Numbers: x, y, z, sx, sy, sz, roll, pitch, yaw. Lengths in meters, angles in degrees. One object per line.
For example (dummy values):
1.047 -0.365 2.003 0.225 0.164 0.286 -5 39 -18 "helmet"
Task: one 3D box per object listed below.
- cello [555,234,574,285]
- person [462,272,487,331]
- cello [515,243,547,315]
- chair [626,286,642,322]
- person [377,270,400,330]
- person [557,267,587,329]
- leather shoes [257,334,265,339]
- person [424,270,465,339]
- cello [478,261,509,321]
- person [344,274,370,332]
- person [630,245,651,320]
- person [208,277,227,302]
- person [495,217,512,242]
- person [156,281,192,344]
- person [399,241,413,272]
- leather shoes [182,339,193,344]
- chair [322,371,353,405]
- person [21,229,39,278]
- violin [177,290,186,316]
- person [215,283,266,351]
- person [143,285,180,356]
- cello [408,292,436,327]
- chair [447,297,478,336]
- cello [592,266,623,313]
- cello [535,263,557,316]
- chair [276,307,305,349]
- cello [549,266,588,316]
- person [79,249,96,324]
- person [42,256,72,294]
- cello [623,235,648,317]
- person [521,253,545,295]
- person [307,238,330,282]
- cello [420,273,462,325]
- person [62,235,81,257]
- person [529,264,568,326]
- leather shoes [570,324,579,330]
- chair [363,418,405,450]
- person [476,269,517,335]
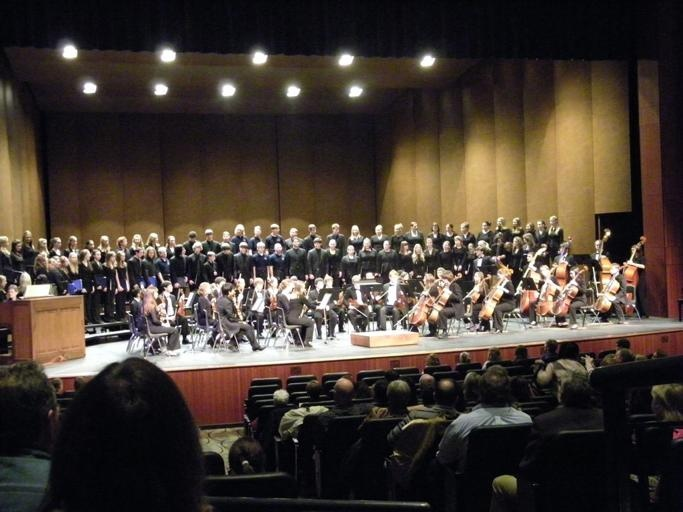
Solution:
4.132 0.092 12.708 0.216 0.986 0.410 5 -39 18 "cello"
2.433 0.831 12.388 0.325 1.103 0.534 5 19 7 "person"
3.522 0.453 12.642 0.375 1.372 0.555 11 -39 7 "cello"
5.407 0.858 12.665 0.265 0.618 1.104 -5 -2 22 "chair"
0.896 0.836 12.592 0.277 1.010 0.489 0 2 -9 "person"
4.131 0.730 12.102 0.396 1.306 0.558 11 5 5 "person"
-1.488 1.505 12.752 0.138 0.147 0.070 -2 -22 -3 "leather shoes"
1.806 0.817 11.869 0.382 1.229 0.600 0 -2 -6 "person"
2.695 0.626 12.175 0.280 1.323 0.536 25 -30 1 "cello"
0.282 0.882 12.530 0.285 0.939 0.483 -6 5 -20 "person"
5.647 0.415 12.910 0.351 1.209 0.611 -6 6 3 "person"
-2.097 0.574 11.581 0.236 0.788 0.318 1 3 6 "person"
3.416 -0.571 14.551 0.330 0.498 0.886 -5 -2 22 "person"
-2.887 0.932 11.678 0.353 1.294 0.590 -16 13 -26 "person"
1.337 0.015 14.337 0.318 0.572 0.729 -4 -2 5 "person"
-2.710 1.497 12.019 0.161 0.086 0.238 2 -3 -33 "leather shoes"
-0.080 1.432 7.602 0.344 0.479 0.382 2 -22 -4 "chair"
-5.220 0.070 11.475 0.257 0.973 0.292 23 27 36 "person"
-2.767 0.850 11.729 0.142 0.519 0.254 -1 7 -4 "violin"
-1.589 0.927 10.752 0.404 1.066 0.624 -19 17 -33 "person"
-2.754 0.998 10.459 0.522 1.133 0.385 -6 19 -27 "person"
1.395 0.915 11.706 0.157 0.720 0.302 37 -49 -14 "cello"
2.268 1.185 12.797 0.596 0.861 0.545 3 -5 -30 "chair"
4.802 0.597 12.284 0.224 1.071 0.472 24 -24 0 "cello"
3.670 0.633 12.263 0.193 0.905 0.387 13 -44 -7 "cello"
-0.885 1.182 11.446 0.609 0.930 0.527 -1 -1 -9 "chair"
4.066 0.696 12.045 0.298 1.025 0.471 17 7 6 "cello"
-4.538 0.550 12.258 0.260 1.308 0.365 1 5 27 "person"
-4.539 0.309 10.988 0.330 0.640 1.263 -3 -2 -22 "person"
5.490 0.417 12.719 0.431 1.567 0.755 -3 10 8 "cello"
3.417 0.326 12.351 0.287 0.866 0.402 9 -17 -17 "person"
-0.527 0.029 14.563 0.420 0.715 0.904 -4 -2 7 "person"
1.801 0.732 11.867 0.299 0.946 0.496 4 -21 -5 "cello"
-5.967 -0.227 15.036 0.342 0.761 0.549 -5 7 -23 "person"
3.743 0.712 12.251 0.366 1.167 0.549 4 -9 -1 "person"
4.059 1.230 11.893 0.126 0.049 0.079 -11 6 -32 "leather shoes"
0.258 1.276 5.033 0.215 0.163 0.219 0 5 1 "chair"
2.755 0.779 11.981 0.379 1.218 0.588 9 3 5 "person"
